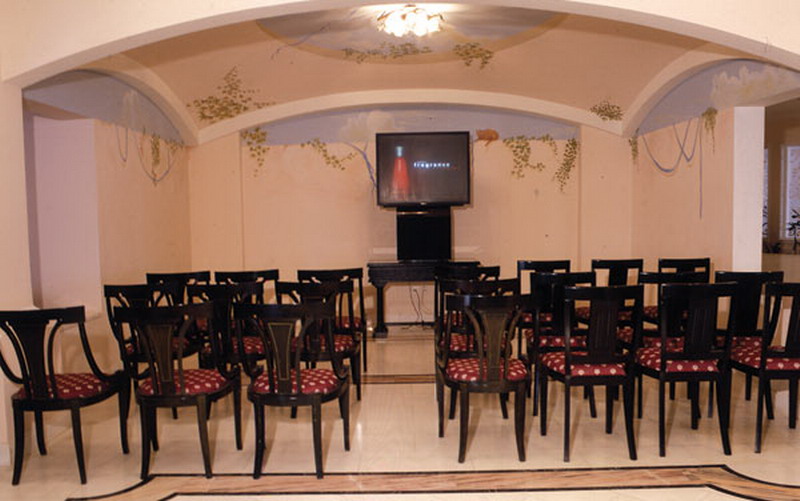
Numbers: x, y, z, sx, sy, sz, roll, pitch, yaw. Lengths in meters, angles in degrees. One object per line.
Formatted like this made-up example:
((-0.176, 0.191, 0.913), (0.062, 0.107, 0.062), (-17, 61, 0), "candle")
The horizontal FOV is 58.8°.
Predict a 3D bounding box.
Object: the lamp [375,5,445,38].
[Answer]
((0.117, -2.548, 8.076), (0.774, 0.195, 0.666), (-2, -1, 3), "lamp")
